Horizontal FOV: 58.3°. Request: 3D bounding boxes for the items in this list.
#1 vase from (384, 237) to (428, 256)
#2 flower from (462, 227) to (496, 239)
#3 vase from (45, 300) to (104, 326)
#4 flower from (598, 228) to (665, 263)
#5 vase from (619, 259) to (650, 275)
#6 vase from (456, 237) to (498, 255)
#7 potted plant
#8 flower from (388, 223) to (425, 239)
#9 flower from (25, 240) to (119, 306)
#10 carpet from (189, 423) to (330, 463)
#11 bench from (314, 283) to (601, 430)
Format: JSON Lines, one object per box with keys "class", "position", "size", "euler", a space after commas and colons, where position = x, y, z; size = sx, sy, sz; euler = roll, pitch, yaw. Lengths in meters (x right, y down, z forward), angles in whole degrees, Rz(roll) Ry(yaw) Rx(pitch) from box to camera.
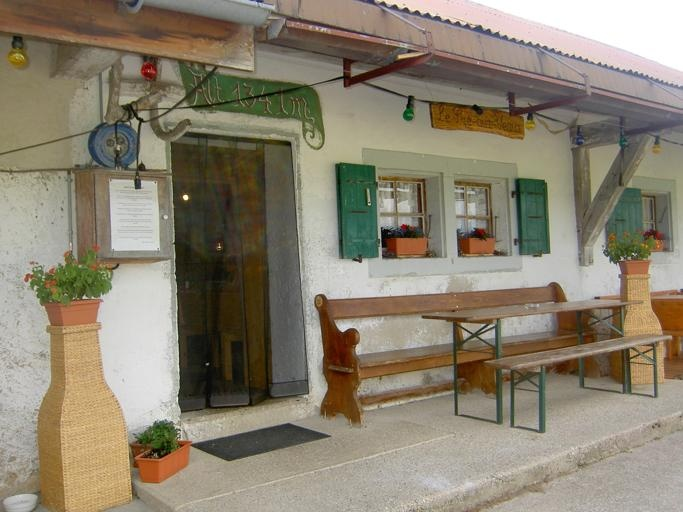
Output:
{"class": "vase", "position": [0.824, -0.118, 7.579], "size": [0.538, 0.245, 0.203], "euler": [-3, 2, -25]}
{"class": "flower", "position": [1.797, -0.304, 8.241], "size": [0.312, 0.157, 0.415], "euler": [0, 3, 39]}
{"class": "vase", "position": [-2.144, 0.447, 4.846], "size": [0.231, 0.153, 0.332], "euler": [-6, -6, 42]}
{"class": "flower", "position": [4.131, -0.154, 8.830], "size": [0.593, 0.388, 0.511], "euler": [1, -2, -30]}
{"class": "vase", "position": [3.673, 0.148, 7.775], "size": [0.306, 0.140, 0.201], "euler": [1, -5, -9]}
{"class": "vase", "position": [1.817, -0.132, 8.198], "size": [0.502, 0.254, 0.145], "euler": [-3, 2, -25]}
{"class": "potted plant", "position": [-1.532, 1.646, 5.191], "size": [0.374, 0.417, 0.478], "euler": [-3, -6, 29]}
{"class": "flower", "position": [0.781, -0.304, 7.577], "size": [0.438, 0.178, 0.317], "euler": [-2, 2, 3]}
{"class": "flower", "position": [-2.187, 0.089, 4.916], "size": [0.587, 0.397, 0.568], "euler": [0, 4, -32]}
{"class": "carpet", "position": [-0.781, 1.779, 5.900], "size": [1.173, 0.034, 0.669], "euler": [-3, 2, -30]}
{"class": "bench", "position": [1.599, 1.114, 7.508], "size": [3.982, 1.330, 0.851], "euler": [-1, 0, -34]}
